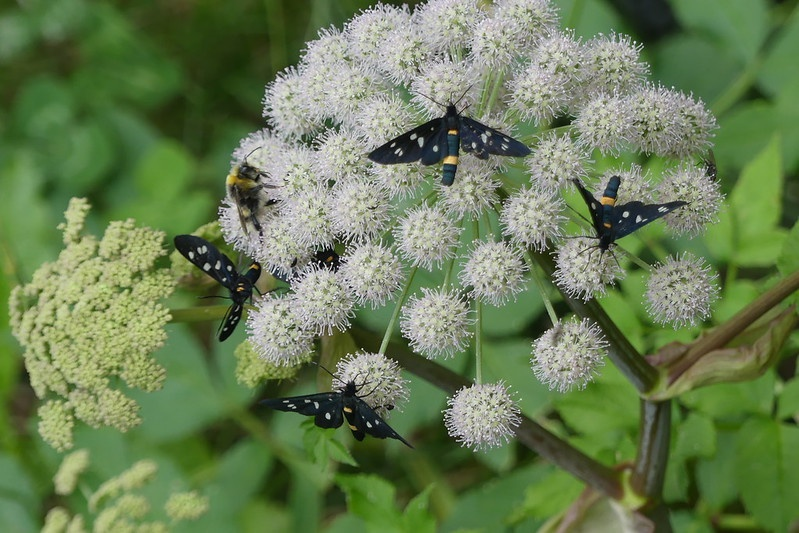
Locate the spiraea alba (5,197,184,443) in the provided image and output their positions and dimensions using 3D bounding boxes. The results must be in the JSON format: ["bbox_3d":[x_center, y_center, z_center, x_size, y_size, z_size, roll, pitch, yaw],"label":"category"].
[{"bbox_3d":[-1.482,0.280,3.753,0.790,0.368,1.207,-16,73,8],"label":"spiraea alba"}]

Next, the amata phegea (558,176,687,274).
[{"bbox_3d":[1.015,-0.204,3.365,0.468,0.287,0.365,10,83,5],"label":"amata phegea"}]

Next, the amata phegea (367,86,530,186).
[{"bbox_3d":[0.205,-0.550,3.328,0.700,0.093,0.345,-19,82,1],"label":"amata phegea"}]

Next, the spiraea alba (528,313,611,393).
[{"bbox_3d":[0.793,0.414,3.427,0.330,0.121,0.305,-28,82,0],"label":"spiraea alba"}]

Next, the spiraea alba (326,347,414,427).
[{"bbox_3d":[-0.154,0.590,3.523,0.322,0.199,0.312,36,31,9],"label":"spiraea alba"}]
